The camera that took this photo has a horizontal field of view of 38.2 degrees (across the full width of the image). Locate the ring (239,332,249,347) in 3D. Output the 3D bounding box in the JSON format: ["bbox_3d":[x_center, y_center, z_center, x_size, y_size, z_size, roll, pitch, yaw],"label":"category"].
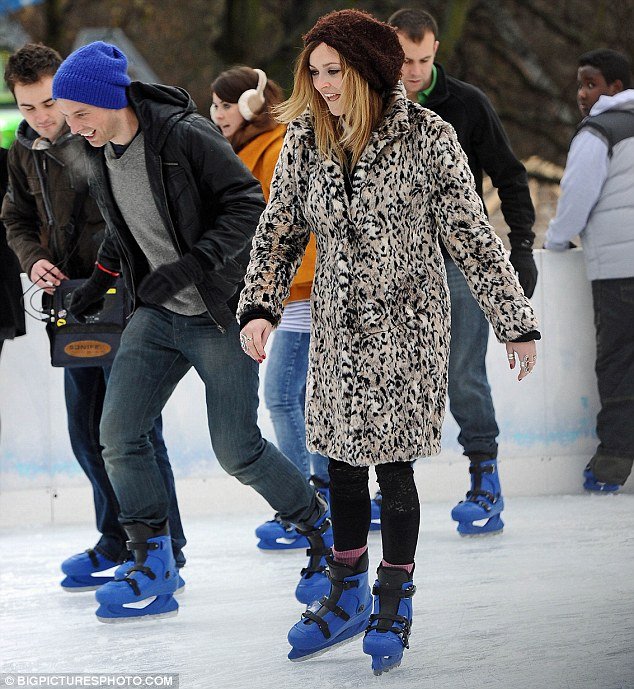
[{"bbox_3d":[-0.171,-0.011,2.132,0.016,0.037,0.014,5,39,22],"label":"ring"}]

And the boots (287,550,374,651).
[{"bbox_3d":[0.031,0.629,2.197,0.097,0.192,0.282,-3,0,44],"label":"boots"}]

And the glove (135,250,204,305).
[{"bbox_3d":[-0.383,-0.162,2.316,0.173,0.090,0.053,-28,-2,-14],"label":"glove"}]

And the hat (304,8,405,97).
[{"bbox_3d":[0.081,-0.662,2.071,0.228,0.128,0.104,-3,-2,-5],"label":"hat"}]

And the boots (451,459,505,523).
[{"bbox_3d":[0.638,0.591,3.628,0.142,0.280,0.349,-5,-7,36],"label":"boots"}]

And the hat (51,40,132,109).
[{"bbox_3d":[-0.622,-0.734,2.472,0.173,0.157,0.215,26,30,21],"label":"hat"}]

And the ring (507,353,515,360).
[{"bbox_3d":[0.435,0.027,2.042,0.018,0.012,0.013,7,2,-23],"label":"ring"}]

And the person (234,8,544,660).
[{"bbox_3d":[0.163,-0.029,2.136,0.693,1.019,0.309,-4,-2,14],"label":"person"}]

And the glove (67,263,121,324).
[{"bbox_3d":[-0.683,-0.160,2.830,0.128,0.196,0.085,37,6,-17],"label":"glove"}]
